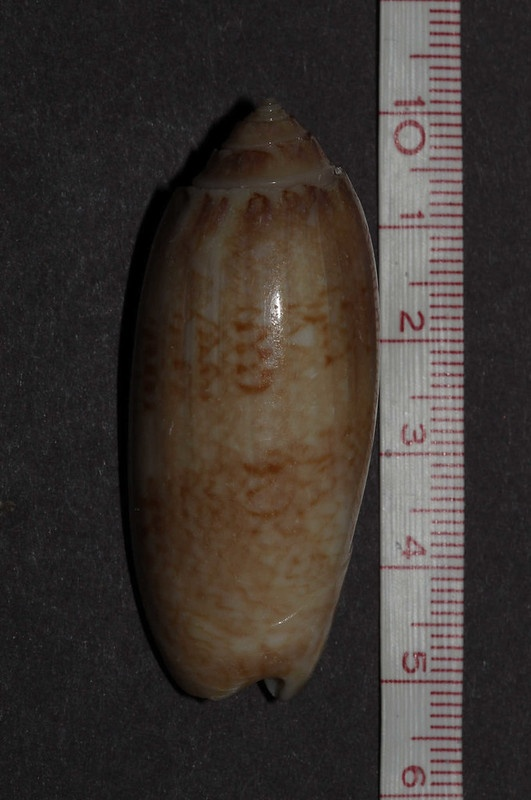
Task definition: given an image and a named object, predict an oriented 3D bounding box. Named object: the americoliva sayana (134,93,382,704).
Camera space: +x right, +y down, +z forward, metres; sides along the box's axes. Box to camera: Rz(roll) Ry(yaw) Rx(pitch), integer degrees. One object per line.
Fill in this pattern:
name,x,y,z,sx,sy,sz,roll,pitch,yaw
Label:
americoliva sayana,0.002,-0.005,1.143,0.193,0.217,0.587,3,75,8
